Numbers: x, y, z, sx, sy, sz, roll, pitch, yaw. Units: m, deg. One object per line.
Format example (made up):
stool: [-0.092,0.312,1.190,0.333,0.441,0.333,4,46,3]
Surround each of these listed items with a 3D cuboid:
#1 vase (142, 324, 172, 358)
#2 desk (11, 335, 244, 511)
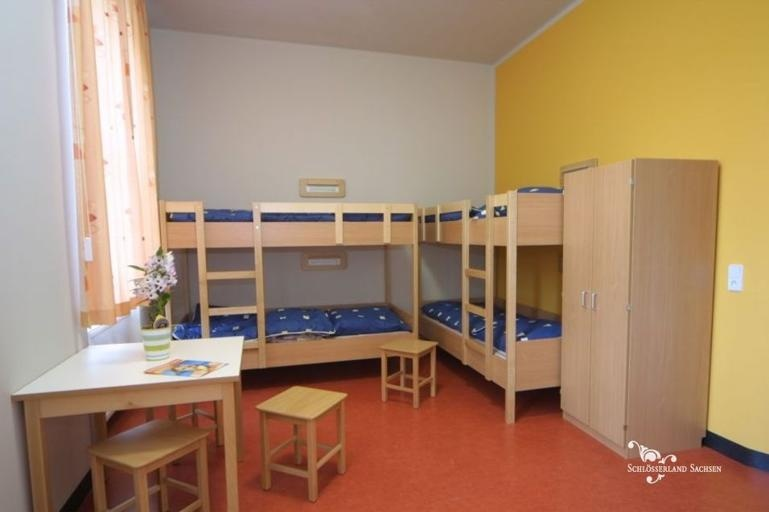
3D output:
vase: [-1.697,0.645,4.138,0.217,0.233,0.214,-4,0,-26]
desk: [-1.864,0.992,4.294,1.328,0.966,1.203,-1,2,-9]
